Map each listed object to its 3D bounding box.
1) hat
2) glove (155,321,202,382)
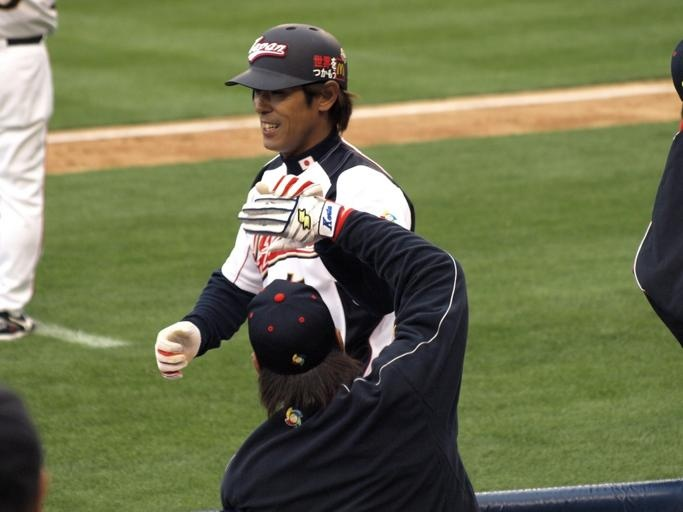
[{"bbox_3d":[-0.366,0.509,9.790,0.523,0.394,0.647,-13,46,2],"label":"hat"},{"bbox_3d":[-1.301,0.775,11.089,0.350,0.332,0.553,8,17,26],"label":"glove"}]
